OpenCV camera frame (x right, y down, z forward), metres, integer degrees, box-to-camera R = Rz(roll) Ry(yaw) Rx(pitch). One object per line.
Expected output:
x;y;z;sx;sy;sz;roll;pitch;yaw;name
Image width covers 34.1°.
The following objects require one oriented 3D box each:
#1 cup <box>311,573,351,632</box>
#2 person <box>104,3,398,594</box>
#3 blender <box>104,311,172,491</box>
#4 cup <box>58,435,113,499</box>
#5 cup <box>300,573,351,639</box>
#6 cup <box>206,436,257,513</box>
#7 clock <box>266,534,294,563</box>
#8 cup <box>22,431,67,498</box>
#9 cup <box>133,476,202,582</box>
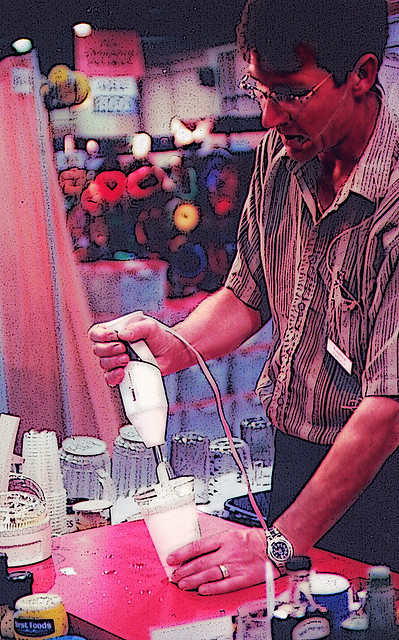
0.202;0.436;1.007;0.057;0.058;0.077;-2;5;7;cup
0.161;-0.031;1.246;0.449;1.062;0.573;-3;6;-3;person
-0.088;0.122;1.045;0.085;0.261;0.067;-11;-23;-14;blender
-0.346;0.436;1.891;0.141;0.150;0.174;0;0;-14;cup
0.200;0.427;0.992;0.087;0.078;0.078;0;0;-9;cup
0.097;0.455;1.904;0.128;0.226;0.230;-1;5;11;cup
0.128;0.367;1.039;0.035;0.042;0.045;-13;-9;-4;clock
-0.384;0.347;1.589;0.092;0.155;0.088;-2;6;0;cup
-0.045;0.332;1.027;0.101;0.175;0.074;-4;6;-15;cup
